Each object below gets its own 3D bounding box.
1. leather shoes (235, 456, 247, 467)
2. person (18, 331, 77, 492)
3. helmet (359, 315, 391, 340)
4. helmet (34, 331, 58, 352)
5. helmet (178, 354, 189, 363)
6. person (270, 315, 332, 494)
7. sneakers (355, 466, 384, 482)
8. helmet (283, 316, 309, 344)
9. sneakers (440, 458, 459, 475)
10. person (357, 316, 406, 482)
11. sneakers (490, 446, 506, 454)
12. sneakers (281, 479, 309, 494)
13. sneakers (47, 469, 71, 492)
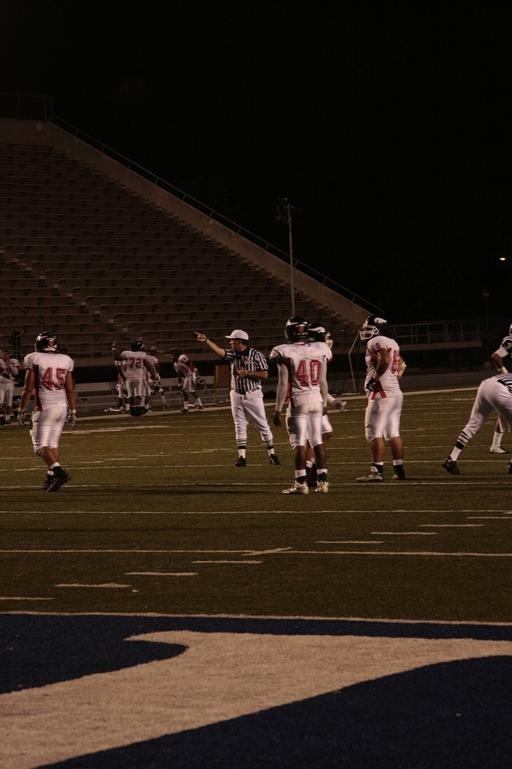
[{"bbox_3d":[-0.236,1.118,15.003,0.141,0.144,0.367,-1,-6,5],"label":"leather shoes"},{"bbox_3d":[-2.568,0.317,12.614,0.663,1.928,1.231,0,2,-12],"label":"person"},{"bbox_3d":[1.427,-0.698,12.522,0.430,0.315,0.310,7,-1,12],"label":"helmet"},{"bbox_3d":[-2.619,-0.541,12.723,0.319,0.275,0.335,0,6,-16],"label":"helmet"},{"bbox_3d":[-2.133,-0.757,29.653,0.280,0.241,0.499,0,1,-6],"label":"helmet"},{"bbox_3d":[0.471,0.228,11.402,0.658,1.975,0.762,1,2,0],"label":"person"},{"bbox_3d":[1.298,1.068,12.253,0.417,0.240,0.159,2,0,12],"label":"sneakers"},{"bbox_3d":[0.434,-0.615,11.674,0.308,0.295,0.331,-1,2,-9],"label":"helmet"},{"bbox_3d":[2.389,1.010,12.631,0.353,0.125,0.131,15,-3,-42],"label":"sneakers"},{"bbox_3d":[1.542,0.151,12.467,0.576,2.001,1.198,1,2,5],"label":"person"},{"bbox_3d":[3.567,0.972,15.270,0.261,0.131,0.083,-1,9,5],"label":"sneakers"},{"bbox_3d":[0.382,1.143,11.374,0.384,0.136,0.123,0,-4,26],"label":"sneakers"},{"bbox_3d":[-2.382,1.158,12.277,0.259,0.139,0.461,8,-26,-22],"label":"sneakers"}]
